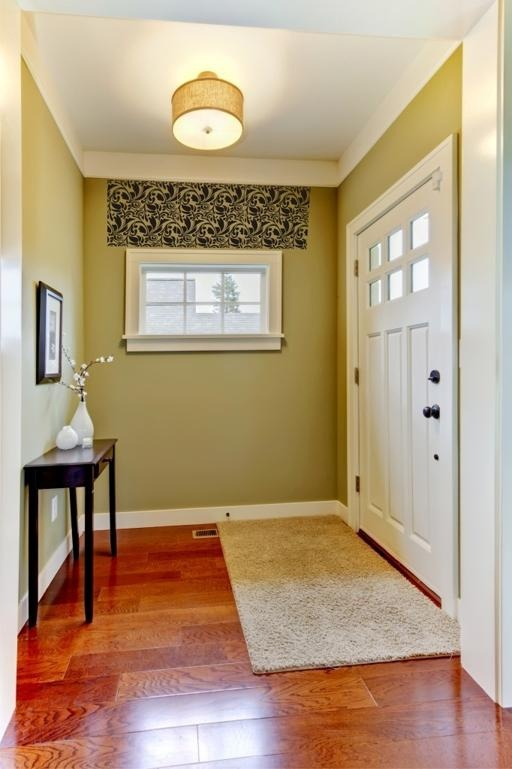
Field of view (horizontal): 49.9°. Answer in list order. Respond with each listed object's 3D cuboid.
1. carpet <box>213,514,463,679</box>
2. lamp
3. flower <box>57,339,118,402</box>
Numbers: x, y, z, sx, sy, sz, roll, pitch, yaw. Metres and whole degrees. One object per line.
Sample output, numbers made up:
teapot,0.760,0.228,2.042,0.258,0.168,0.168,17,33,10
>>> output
carpet,0.280,0.894,2.547,0.816,0.021,1.464,-1,2,-8
lamp,-0.223,-1.290,2.537,0.312,0.218,0.399,-2,2,-29
flower,-0.952,-0.094,3.056,0.268,0.346,0.233,12,5,39
